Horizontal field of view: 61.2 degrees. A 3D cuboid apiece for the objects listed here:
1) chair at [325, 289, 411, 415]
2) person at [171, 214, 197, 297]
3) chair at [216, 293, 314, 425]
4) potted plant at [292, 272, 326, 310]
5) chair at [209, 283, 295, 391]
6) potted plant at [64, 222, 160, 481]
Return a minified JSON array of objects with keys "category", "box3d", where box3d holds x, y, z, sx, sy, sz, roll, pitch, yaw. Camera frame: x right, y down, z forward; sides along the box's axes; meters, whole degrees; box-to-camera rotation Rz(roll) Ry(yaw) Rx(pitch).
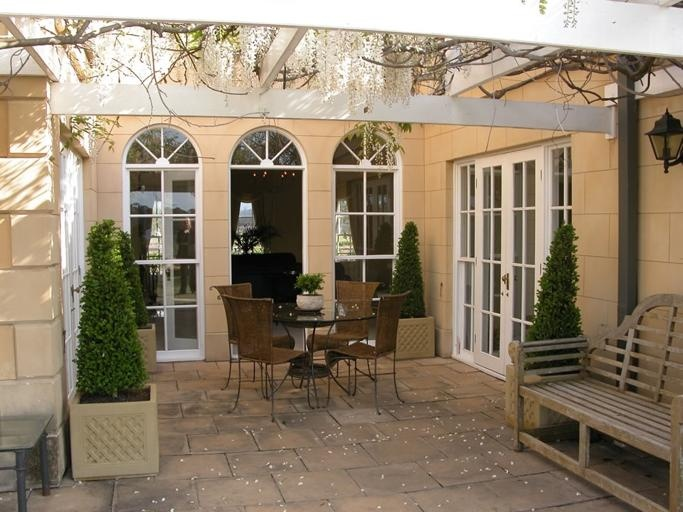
[{"category":"chair","box3d":[0.232,0.879,6.109,0.786,1.149,1.572,0,6,2]},{"category":"person","box3d":[-1.963,0.011,7.234,0.245,0.955,0.123,-2,7,-16]},{"category":"chair","box3d":[-0.738,0.894,5.732,0.828,1.142,1.171,-1,6,-11]},{"category":"potted plant","box3d":[-0.268,0.364,5.982,0.408,0.415,0.337,1,-5,-16]},{"category":"chair","box3d":[-1.183,0.842,6.745,1.112,1.539,1.000,-1,2,-19]},{"category":"potted plant","box3d":[-1.715,0.683,4.259,0.631,1.825,0.520,-2,7,-19]}]
